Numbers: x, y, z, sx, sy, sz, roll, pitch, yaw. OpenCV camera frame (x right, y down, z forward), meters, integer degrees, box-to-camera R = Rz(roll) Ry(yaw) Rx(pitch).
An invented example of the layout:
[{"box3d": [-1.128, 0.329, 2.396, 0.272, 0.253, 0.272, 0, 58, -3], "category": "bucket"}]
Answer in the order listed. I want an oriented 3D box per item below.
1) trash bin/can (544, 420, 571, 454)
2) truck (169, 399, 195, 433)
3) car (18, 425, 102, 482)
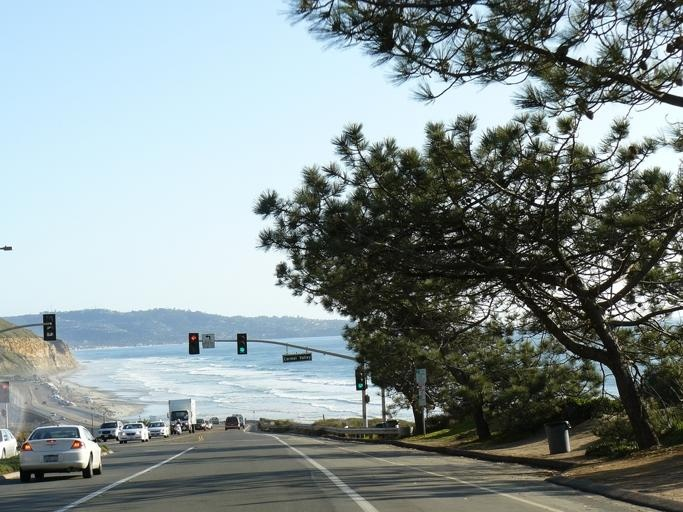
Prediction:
[{"box3d": [7.373, 6.170, 26.632, 1.268, 1.183, 1.067, -2, -16, 8], "category": "trash bin/can"}, {"box3d": [-15.389, 15.166, 75.768, 2.498, 3.015, 4.881, -4, -5, -2], "category": "truck"}, {"box3d": [-8.249, 5.798, 22.941, 1.327, 0.909, 2.892, -1, -3, -3], "category": "car"}]
